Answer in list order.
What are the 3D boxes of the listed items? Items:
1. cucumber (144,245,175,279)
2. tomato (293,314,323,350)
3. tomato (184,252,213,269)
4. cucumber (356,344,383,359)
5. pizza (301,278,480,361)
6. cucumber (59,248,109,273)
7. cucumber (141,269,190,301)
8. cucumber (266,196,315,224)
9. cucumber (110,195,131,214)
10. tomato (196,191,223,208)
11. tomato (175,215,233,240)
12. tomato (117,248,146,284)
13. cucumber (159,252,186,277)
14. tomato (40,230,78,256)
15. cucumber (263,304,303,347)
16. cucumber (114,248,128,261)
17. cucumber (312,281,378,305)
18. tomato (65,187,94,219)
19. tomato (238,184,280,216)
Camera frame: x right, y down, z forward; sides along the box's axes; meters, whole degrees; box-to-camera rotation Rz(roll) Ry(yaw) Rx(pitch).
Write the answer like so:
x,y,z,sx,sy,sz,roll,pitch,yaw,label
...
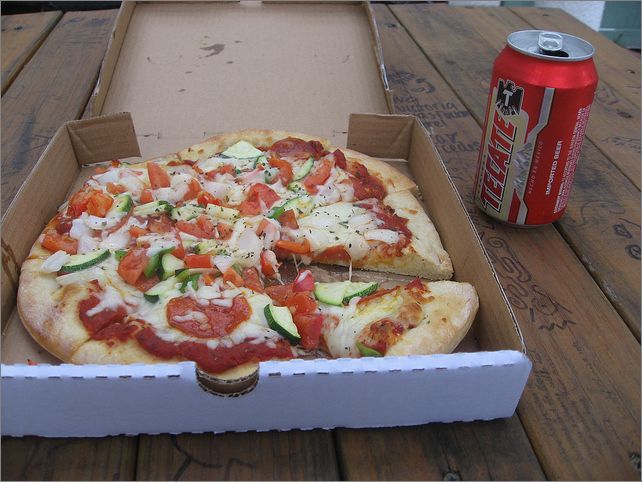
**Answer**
x,y,z,sx,sy,sz,roll,pitch,yaw,label
-0.765,0.101,2.472,0.158,0.048,0.132,-12,80,-26,cucumber
-0.057,0.385,2.287,0.134,0.055,0.143,3,57,-11,tomato
-0.580,0.090,2.487,0.126,0.056,0.095,-8,41,-10,tomato
0.183,0.448,2.156,0.067,0.072,0.023,30,76,-25,cucumber
0.328,0.294,2.550,0.977,0.281,0.760,3,17,15,pizza
-1.110,0.096,2.502,0.227,0.043,0.111,-16,42,-19,cucumber
-0.707,0.206,2.433,0.219,0.061,0.166,-9,23,-29,cucumber
-0.173,-0.169,2.869,0.237,0.040,0.113,-18,43,-28,cucumber
-1.046,-0.187,2.787,0.104,0.025,0.095,-21,59,7,cucumber
-0.602,-0.217,2.865,0.115,0.039,0.073,15,41,3,tomato
-0.572,-0.095,2.714,0.198,0.052,0.150,15,34,6,tomato
-0.873,0.117,2.481,0.110,0.109,0.154,26,47,25,tomato
-0.705,0.113,2.486,0.119,0.049,0.130,5,47,-18,cucumber
-1.284,0.017,2.634,0.182,0.057,0.087,17,41,-9,tomato
-0.175,0.349,2.273,0.182,0.045,0.168,17,29,-36,cucumber
-0.959,0.066,2.550,0.055,0.014,0.055,31,30,27,cucumber
0.101,0.232,2.459,0.211,0.027,0.125,-13,30,-23,cucumber
-1.291,-0.201,2.830,0.179,0.056,0.134,-38,38,-14,tomato
-0.362,-0.215,2.914,0.151,0.190,0.047,30,70,-4,tomato
